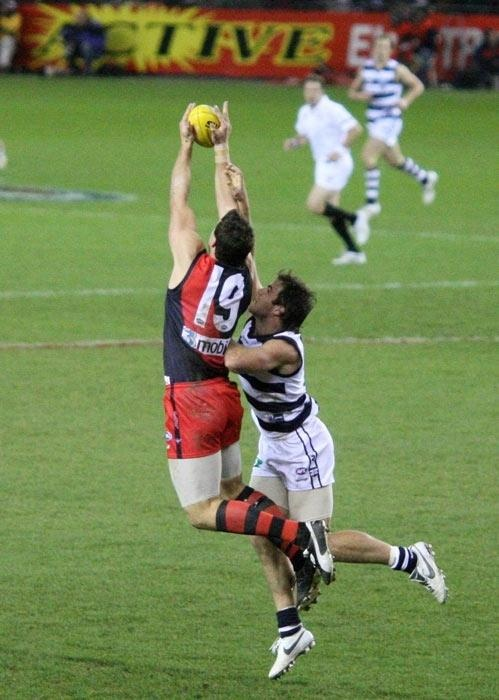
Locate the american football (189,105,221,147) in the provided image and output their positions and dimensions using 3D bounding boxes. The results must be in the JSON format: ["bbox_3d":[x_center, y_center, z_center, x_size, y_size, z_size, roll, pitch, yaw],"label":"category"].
[{"bbox_3d":[-0.274,-1.322,6.958,0.237,0.261,0.225,-4,21,6],"label":"american football"}]

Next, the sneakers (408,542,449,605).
[{"bbox_3d":[0.976,1.275,6.565,0.223,0.305,0.257,3,26,8],"label":"sneakers"}]

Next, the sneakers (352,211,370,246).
[{"bbox_3d":[1.160,-1.311,12.653,0.137,0.337,0.201,10,30,20],"label":"sneakers"}]

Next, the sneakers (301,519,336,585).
[{"bbox_3d":[0.354,1.111,6.379,0.162,0.339,0.220,0,26,2],"label":"sneakers"}]

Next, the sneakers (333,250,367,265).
[{"bbox_3d":[1.050,-0.975,12.476,0.401,0.141,0.133,-1,17,2],"label":"sneakers"}]

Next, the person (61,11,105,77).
[{"bbox_3d":[-2.836,-5.335,20.129,0.734,1.176,1.400,-4,25,-7],"label":"person"}]

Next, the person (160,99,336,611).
[{"bbox_3d":[-0.129,0.170,6.447,0.754,2.155,1.414,-8,27,-13],"label":"person"}]

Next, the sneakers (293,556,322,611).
[{"bbox_3d":[0.295,1.276,6.364,0.195,0.312,0.111,-1,17,13],"label":"sneakers"}]
